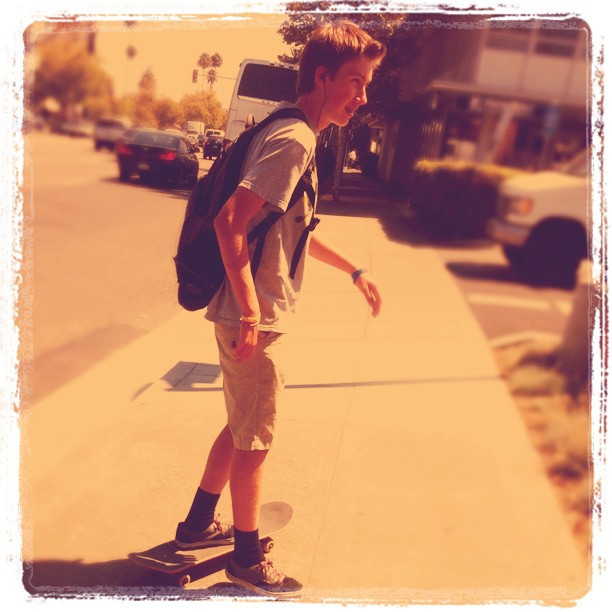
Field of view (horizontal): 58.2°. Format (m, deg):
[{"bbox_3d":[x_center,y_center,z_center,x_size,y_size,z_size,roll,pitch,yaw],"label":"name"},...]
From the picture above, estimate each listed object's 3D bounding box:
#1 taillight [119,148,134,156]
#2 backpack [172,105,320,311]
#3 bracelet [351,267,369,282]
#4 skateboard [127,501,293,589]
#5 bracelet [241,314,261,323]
[{"bbox_3d":[-5.017,-4.289,15.325,0.216,0.260,0.408,27,32,36],"label":"taillight"},{"bbox_3d":[-0.225,-0.359,2.115,0.520,0.779,0.458,7,24,0],"label":"backpack"},{"bbox_3d":[0.258,-0.138,2.678,0.061,0.045,0.083,-25,-7,-27],"label":"bracelet"},{"bbox_3d":[-0.349,1.023,2.469,0.887,0.181,0.263,-5,13,-42],"label":"skateboard"},{"bbox_3d":[-0.203,0.044,2.010,0.063,0.027,0.036,4,26,-10],"label":"bracelet"}]
